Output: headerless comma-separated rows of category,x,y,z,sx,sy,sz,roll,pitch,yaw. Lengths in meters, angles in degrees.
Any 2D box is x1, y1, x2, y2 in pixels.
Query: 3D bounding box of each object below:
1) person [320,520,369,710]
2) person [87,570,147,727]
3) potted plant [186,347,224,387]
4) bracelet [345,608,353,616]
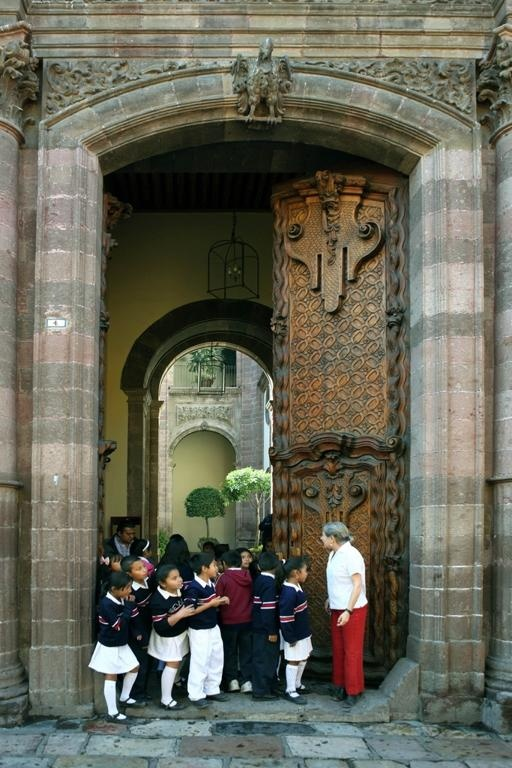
person,0.658,1.748,8.209,0.353,1.376,0.614,2,5,6
person,-1.025,1.878,7.880,0.337,1.068,0.392,3,5,7
potted plant,-1.403,-0.563,30.587,1.281,1.190,1.152,0,-10,-5
bracelet,0.683,1.686,7.965,0.039,0.026,0.048,3,-21,0
